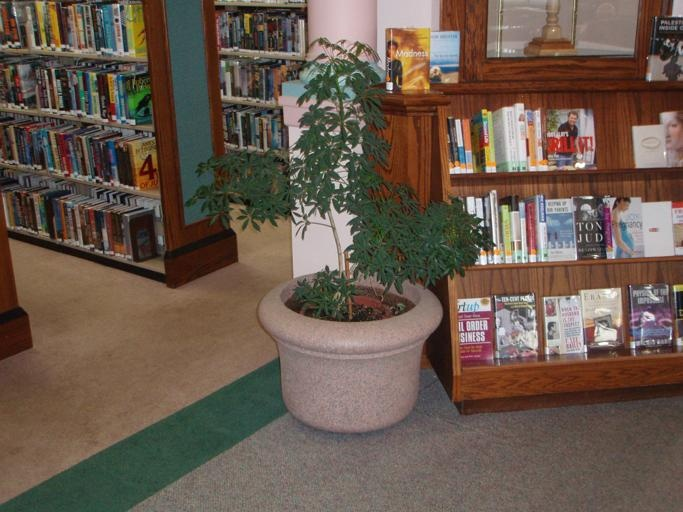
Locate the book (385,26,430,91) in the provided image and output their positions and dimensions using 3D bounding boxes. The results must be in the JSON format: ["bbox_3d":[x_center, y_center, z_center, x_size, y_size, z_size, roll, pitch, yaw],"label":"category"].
[{"bbox_3d":[0.301,-0.951,2.605,0.226,0.284,0.162,-7,20,-11],"label":"book"}]

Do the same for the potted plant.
[{"bbox_3d":[0.025,-0.054,2.367,1.188,1.716,0.584,2,19,14],"label":"potted plant"}]
